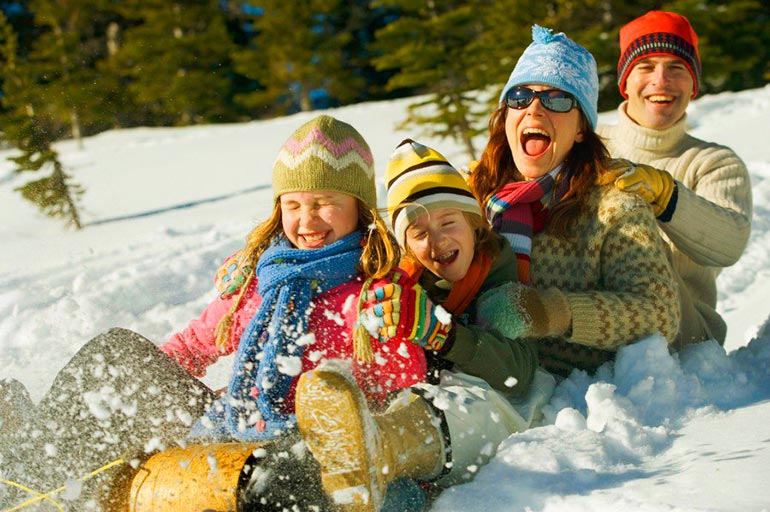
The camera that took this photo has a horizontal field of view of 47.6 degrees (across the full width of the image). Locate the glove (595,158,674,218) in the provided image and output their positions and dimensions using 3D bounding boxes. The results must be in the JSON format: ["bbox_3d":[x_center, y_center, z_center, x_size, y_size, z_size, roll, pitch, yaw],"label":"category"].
[{"bbox_3d":[1.617,-0.477,5.644,0.173,0.316,0.425,-54,28,1],"label":"glove"}]

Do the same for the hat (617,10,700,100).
[{"bbox_3d":[2.130,-1.597,6.815,0.695,0.718,0.624,-7,5,-26],"label":"hat"}]

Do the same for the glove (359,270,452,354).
[{"bbox_3d":[0.064,0.324,5.189,0.597,0.252,0.458,26,39,2],"label":"glove"}]

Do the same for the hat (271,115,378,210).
[{"bbox_3d":[-0.397,-0.614,5.641,0.668,0.666,0.707,-1,-12,-6],"label":"hat"}]

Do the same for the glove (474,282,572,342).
[{"bbox_3d":[0.832,0.344,5.323,0.477,0.223,0.316,8,-4,-32],"label":"glove"}]
